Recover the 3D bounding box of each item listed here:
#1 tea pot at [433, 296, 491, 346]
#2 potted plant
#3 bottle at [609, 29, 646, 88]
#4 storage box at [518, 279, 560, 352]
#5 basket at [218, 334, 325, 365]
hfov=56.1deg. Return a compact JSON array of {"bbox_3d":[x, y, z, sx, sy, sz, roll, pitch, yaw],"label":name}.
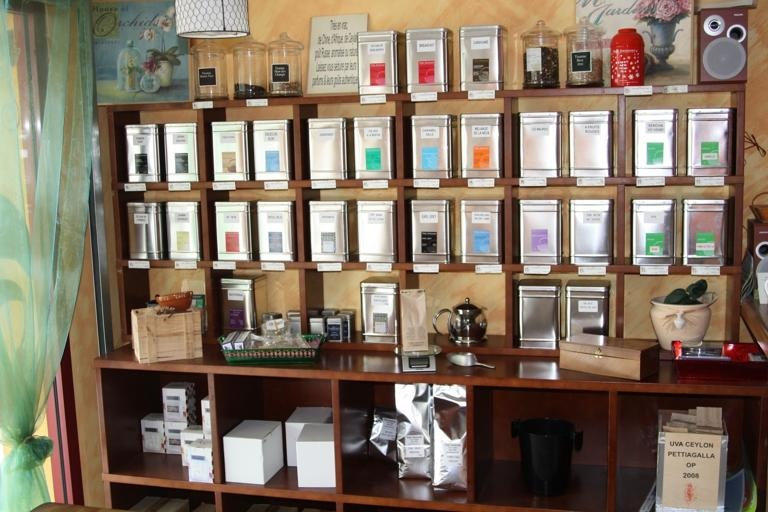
[{"bbox_3d":[0.461,0.385,4.148,0.365,0.253,0.215,-3,-3,35],"label":"tea pot"},{"bbox_3d":[1.604,0.322,3.876,0.392,0.390,0.347,1,-4,5],"label":"potted plant"},{"bbox_3d":[1.327,-1.072,3.916,0.164,0.315,0.080,-1,4,14],"label":"bottle"},{"bbox_3d":[0.889,0.332,4.123,0.249,0.384,0.196,-1,4,10],"label":"storage box"},{"bbox_3d":[-0.666,0.542,4.106,0.427,0.118,0.237,0,0,2],"label":"basket"}]
